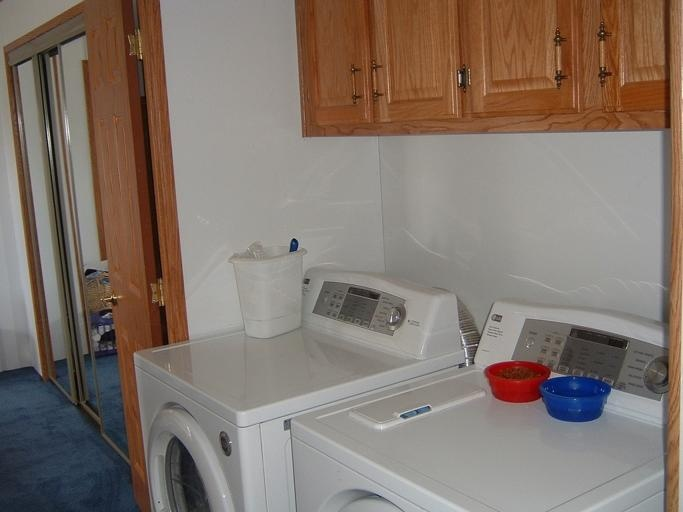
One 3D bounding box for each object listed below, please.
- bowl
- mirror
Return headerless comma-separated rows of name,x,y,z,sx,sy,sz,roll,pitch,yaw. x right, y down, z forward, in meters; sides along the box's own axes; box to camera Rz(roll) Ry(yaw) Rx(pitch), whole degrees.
bowl,0.579,0.357,1.493,0.142,0.059,0.247,-13,10,-35
mirror,-1.770,-0.103,3.398,0.287,2.728,2.410,-13,24,-34
